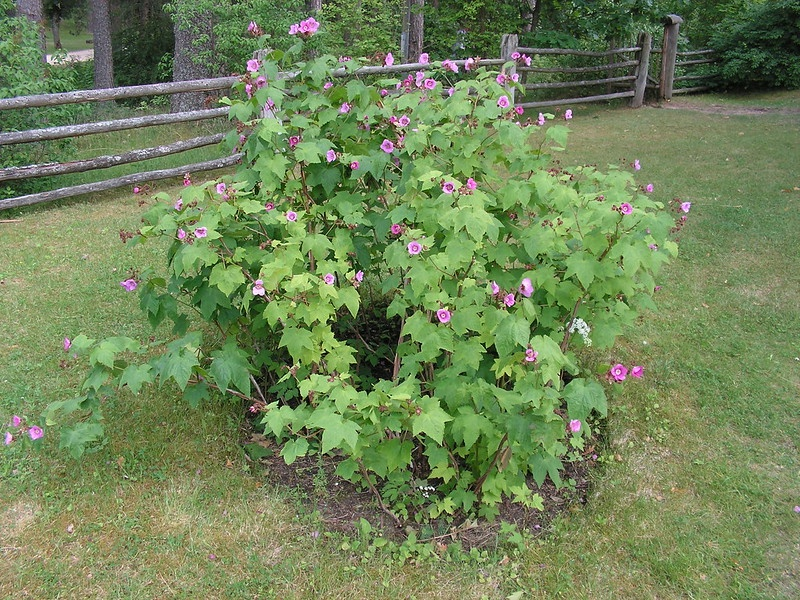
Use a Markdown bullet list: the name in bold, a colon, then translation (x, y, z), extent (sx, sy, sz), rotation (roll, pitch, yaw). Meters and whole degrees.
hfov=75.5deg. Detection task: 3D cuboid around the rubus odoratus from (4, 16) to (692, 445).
- **rubus odoratus**: translation (0.004, -0.160, 5.048), extent (4.053, 3.197, 4.293), rotation (0, 19, 6)
